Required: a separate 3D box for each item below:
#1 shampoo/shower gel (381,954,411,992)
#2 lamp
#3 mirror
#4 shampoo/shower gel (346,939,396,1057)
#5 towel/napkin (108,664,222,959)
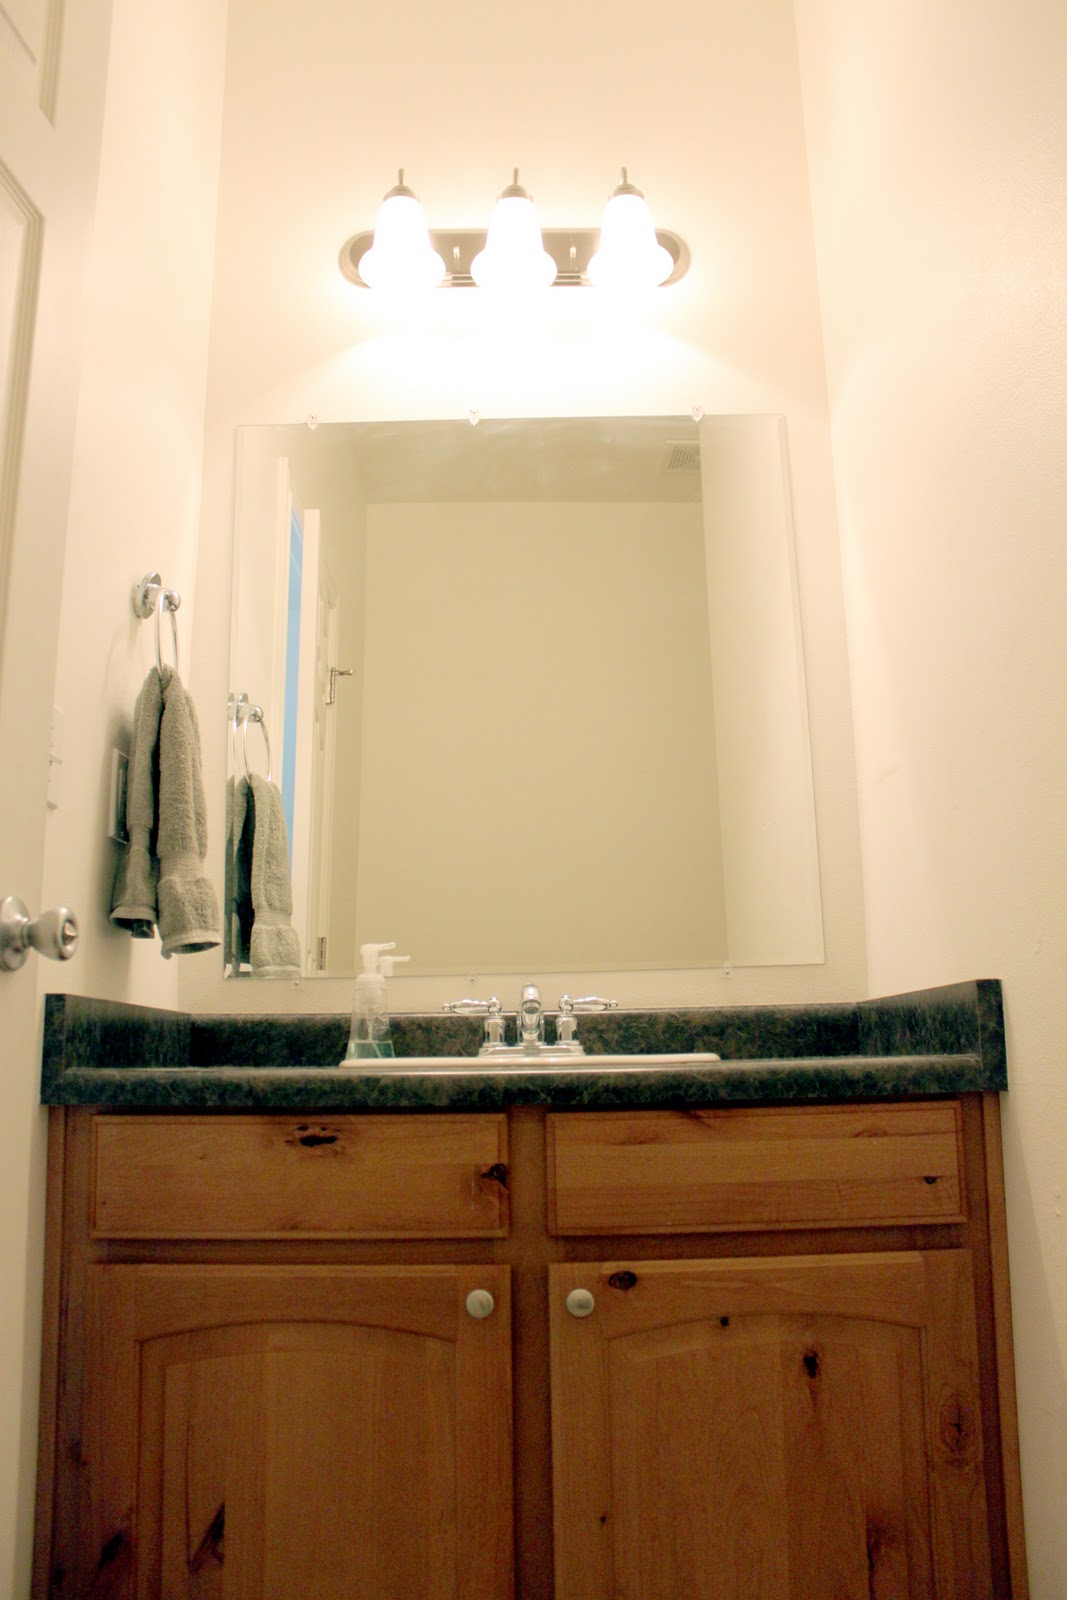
[{"bbox_3d":[-0.206,0.260,1.846,0.043,0.047,0.015,1,-18,-1],"label":"shampoo/shower gel"},{"bbox_3d":[-0.033,-0.944,2.087,0.564,0.229,0.178,-1,7,-1],"label":"lamp"},{"bbox_3d":[-0.023,-0.123,1.958,0.739,0.862,0.040,-1,-10,2],"label":"mirror"},{"bbox_3d":[-0.223,0.274,1.734,0.066,0.169,0.250,0,-11,-6],"label":"shampoo/shower gel"},{"bbox_3d":[-0.473,0.004,1.622,0.117,0.331,0.102,4,1,30],"label":"towel/napkin"}]
